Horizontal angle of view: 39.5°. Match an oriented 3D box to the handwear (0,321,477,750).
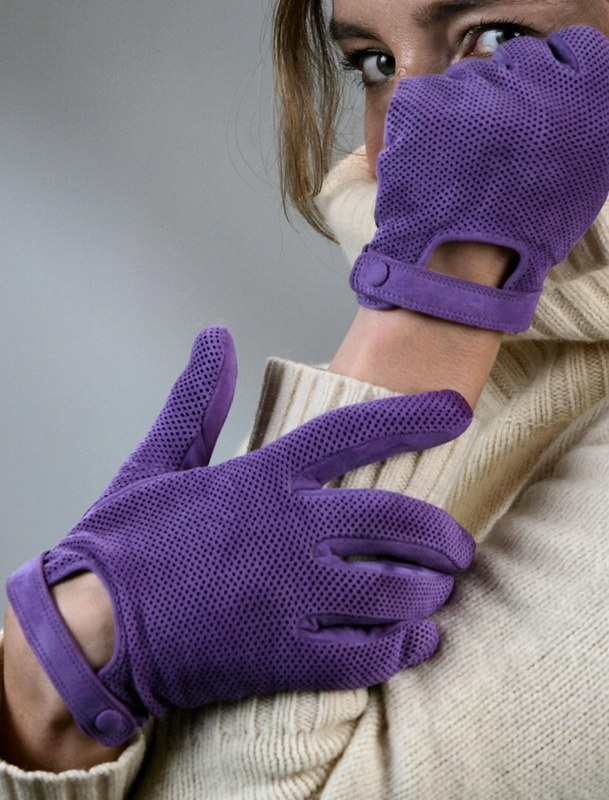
[{"bbox_3d":[-0.028,0.087,0.474,0.264,0.194,0.095,7,20,-12],"label":"handwear"}]
